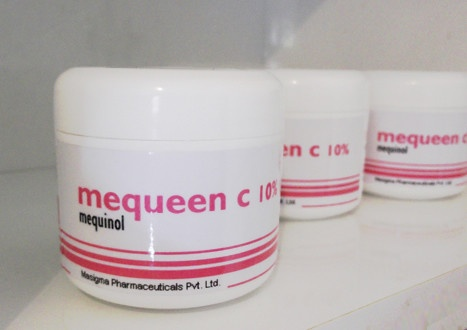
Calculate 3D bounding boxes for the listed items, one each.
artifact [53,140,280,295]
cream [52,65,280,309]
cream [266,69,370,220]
[{"bbox_3d":[-0.047,0.050,0.358,0.139,0.084,0.137,-2,4,-42],"label":"artifact"},{"bbox_3d":[-0.060,0.007,0.448,0.224,0.199,0.226,7,14,18],"label":"cream"},{"bbox_3d":[0.151,-0.024,0.573,0.157,0.173,0.160,0,2,36],"label":"cream"}]
